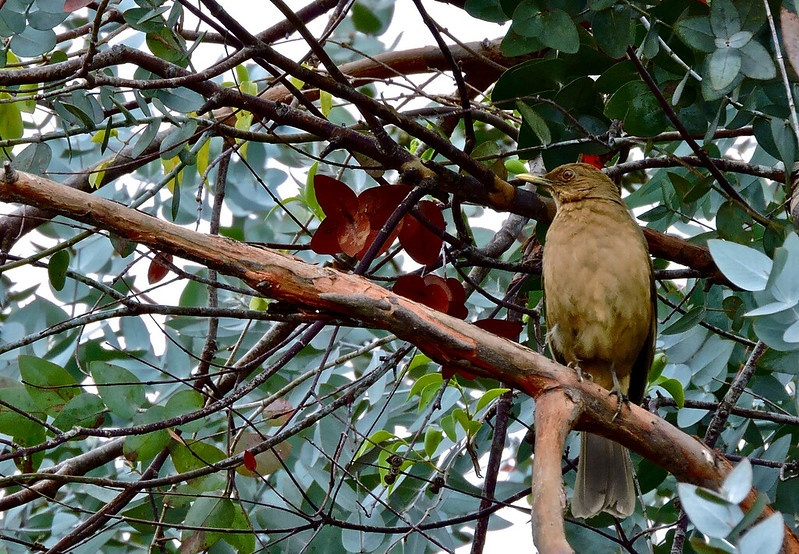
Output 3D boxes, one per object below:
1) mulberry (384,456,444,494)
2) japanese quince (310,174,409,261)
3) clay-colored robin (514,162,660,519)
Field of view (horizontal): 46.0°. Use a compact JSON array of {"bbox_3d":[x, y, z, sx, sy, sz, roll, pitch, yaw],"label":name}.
[{"bbox_3d":[0.048,0.956,4.615,0.248,0.240,0.246,5,-9,-41],"label":"mulberry"},{"bbox_3d":[-0.212,-0.282,4.324,0.364,0.444,0.395,12,-80,-29],"label":"japanese quince"},{"bbox_3d":[1.047,0.324,5.079,0.589,1.771,1.258,-5,-20,14],"label":"clay-colored robin"}]
